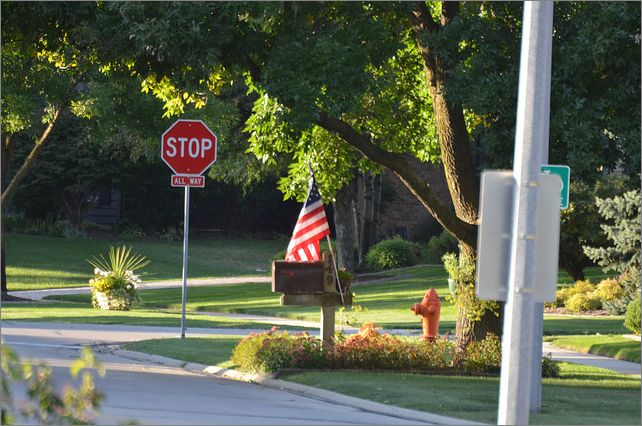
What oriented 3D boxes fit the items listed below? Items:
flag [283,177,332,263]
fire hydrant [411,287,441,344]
[{"bbox_3d":[-0.326,0.154,30.516,0.796,1.915,0.855,-1,-1,-12],"label":"flag"},{"bbox_3d":[2.785,2.587,32.116,1.112,1.970,0.962,2,-5,3],"label":"fire hydrant"}]
